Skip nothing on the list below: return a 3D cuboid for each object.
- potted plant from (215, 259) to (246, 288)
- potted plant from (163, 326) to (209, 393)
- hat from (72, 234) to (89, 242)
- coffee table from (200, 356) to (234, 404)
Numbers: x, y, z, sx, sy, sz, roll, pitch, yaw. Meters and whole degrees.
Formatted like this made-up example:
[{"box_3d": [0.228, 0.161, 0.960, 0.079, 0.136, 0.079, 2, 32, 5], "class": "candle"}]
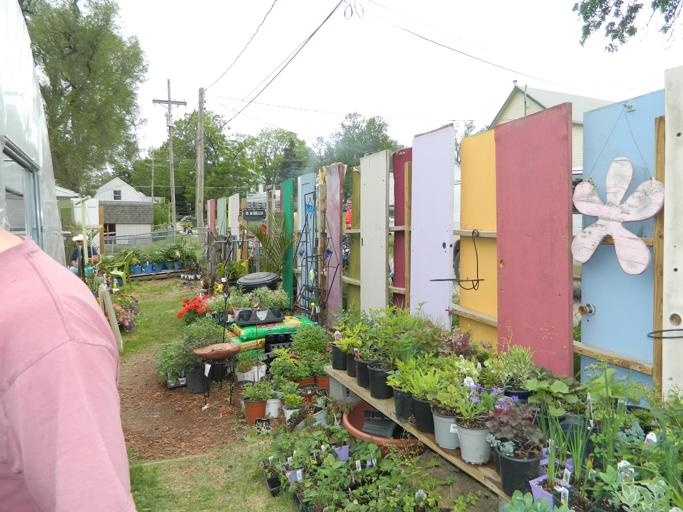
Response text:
[{"box_3d": [-2.461, 0.309, 12.833, 0.679, 0.683, 0.758, -1, -4, 13], "class": "potted plant"}, {"box_3d": [-1.977, 1.293, 7.143, 0.707, 0.653, 0.323, 0, 2, 38], "class": "potted plant"}, {"box_3d": [-6.506, -0.447, 14.531, 0.364, 0.108, 0.358, 0, -2, -41], "class": "hat"}, {"box_3d": [-1.517, 1.456, 7.070, 0.409, 0.546, 0.419, -3, 6, -13], "class": "coffee table"}]
